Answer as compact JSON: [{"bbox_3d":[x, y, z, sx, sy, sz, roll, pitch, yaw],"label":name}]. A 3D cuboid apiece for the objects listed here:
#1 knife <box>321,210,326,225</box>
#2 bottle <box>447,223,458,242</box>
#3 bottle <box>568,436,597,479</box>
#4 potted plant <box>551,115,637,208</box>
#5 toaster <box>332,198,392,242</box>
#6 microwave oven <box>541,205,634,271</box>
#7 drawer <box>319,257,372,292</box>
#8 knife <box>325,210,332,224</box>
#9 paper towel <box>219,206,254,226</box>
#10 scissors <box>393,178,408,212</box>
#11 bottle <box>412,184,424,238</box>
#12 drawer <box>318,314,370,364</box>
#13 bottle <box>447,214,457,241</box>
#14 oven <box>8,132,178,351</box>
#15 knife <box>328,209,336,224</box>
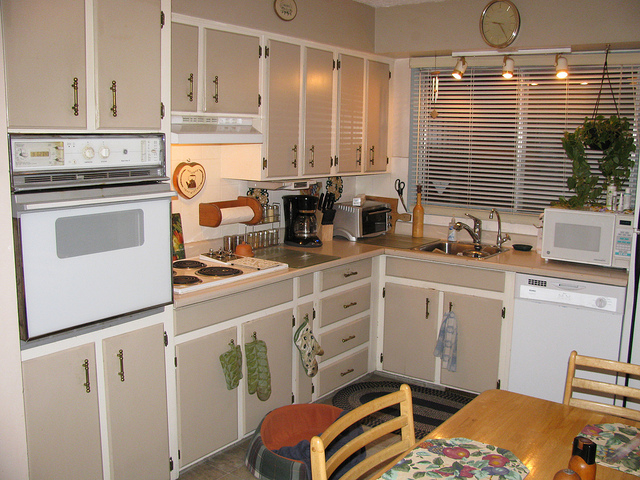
[{"bbox_3d":[0.027,-0.195,4.465,0.020,0.089,0.089,4,18,20],"label":"knife"},{"bbox_3d":[1.173,-0.070,4.461,0.082,0.183,0.192,3,11,14],"label":"bottle"},{"bbox_3d":[0.823,0.683,1.581,0.073,0.120,0.095,6,12,29],"label":"bottle"},{"bbox_3d":[2.132,-0.571,3.886,0.591,0.738,0.414,14,16,42],"label":"potted plant"},{"bbox_3d":[0.394,-0.178,4.710,0.366,0.324,0.511,10,14,44],"label":"toaster"},{"bbox_3d":[1.919,-0.024,3.666,0.567,0.413,0.411,6,9,37],"label":"microwave oven"},{"bbox_3d":[0.171,0.270,3.946,0.263,0.070,0.263,-11,12,-38],"label":"drawer"},{"bbox_3d":[0.066,-0.215,4.497,0.027,0.126,0.088,20,18,40],"label":"knife"},{"bbox_3d":[-0.623,-0.181,3.782,0.117,0.142,0.361,6,13,28],"label":"paper towel"},{"bbox_3d":[0.795,-0.455,4.948,0.102,0.290,0.021,-20,-1,-36],"label":"scissors"},{"bbox_3d":[0.920,-0.281,4.716,0.104,0.491,0.199,2,11,11],"label":"bottle"},{"bbox_3d":[0.182,0.781,4.029,0.277,0.176,0.373,7,15,43],"label":"drawer"},{"bbox_3d":[1.162,-0.088,4.423,0.073,0.210,0.207,3,11,16],"label":"bottle"},{"bbox_3d":[-1.219,-0.027,2.994,0.848,1.378,0.984,3,7,36],"label":"oven"},{"bbox_3d":[0.107,-0.214,4.539,0.025,0.130,0.087,11,0,14],"label":"knife"}]
